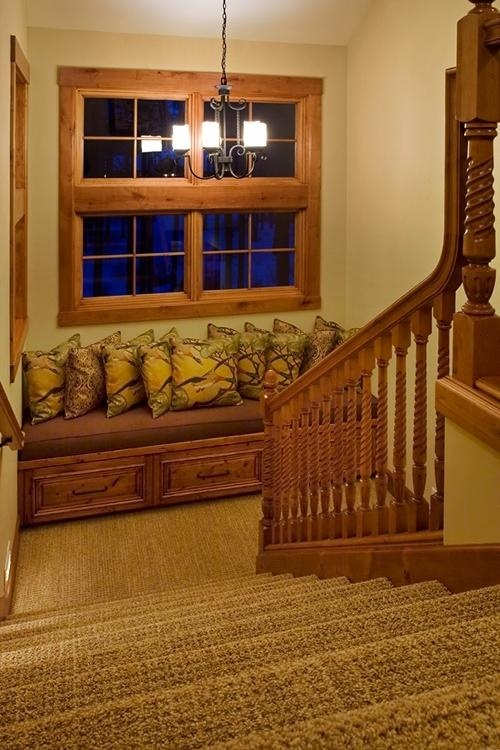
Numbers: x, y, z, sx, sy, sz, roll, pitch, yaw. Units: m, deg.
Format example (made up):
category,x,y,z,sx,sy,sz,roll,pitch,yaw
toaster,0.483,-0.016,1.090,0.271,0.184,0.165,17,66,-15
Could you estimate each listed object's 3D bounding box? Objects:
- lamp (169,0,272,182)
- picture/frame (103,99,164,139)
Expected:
category,x,y,z,sx,sy,sz,roll,pitch,yaw
lamp,-0.221,-1.959,4.094,0.642,1.257,1.775,0,14,-1
picture/frame,-0.949,-2.017,4.675,0.336,0.246,0.034,-3,15,-19
